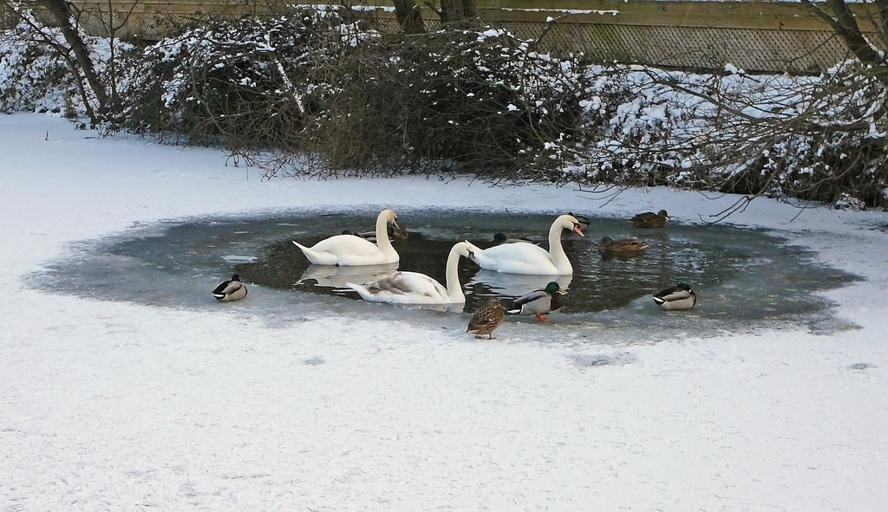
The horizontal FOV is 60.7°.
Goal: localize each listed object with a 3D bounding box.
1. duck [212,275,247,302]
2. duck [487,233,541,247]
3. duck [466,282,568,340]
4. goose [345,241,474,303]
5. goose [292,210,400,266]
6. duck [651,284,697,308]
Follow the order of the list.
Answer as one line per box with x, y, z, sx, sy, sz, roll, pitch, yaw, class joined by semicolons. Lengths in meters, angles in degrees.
-3.499;0.537;12.216;0.424;0.289;0.643;7;10;28;duck
1.473;-0.342;15.410;1.130;0.408;0.310;0;-3;1;duck
1.103;0.799;11.311;0.891;0.522;1.747;6;16;29;duck
-0.064;0.245;13.082;3.133;1.044;1.334;0;1;25;goose
-2.676;-0.354;14.171;3.209;1.019;1.903;1;1;43;goose
3.712;0.650;12.128;0.781;0.290;0.341;-4;11;-17;duck
